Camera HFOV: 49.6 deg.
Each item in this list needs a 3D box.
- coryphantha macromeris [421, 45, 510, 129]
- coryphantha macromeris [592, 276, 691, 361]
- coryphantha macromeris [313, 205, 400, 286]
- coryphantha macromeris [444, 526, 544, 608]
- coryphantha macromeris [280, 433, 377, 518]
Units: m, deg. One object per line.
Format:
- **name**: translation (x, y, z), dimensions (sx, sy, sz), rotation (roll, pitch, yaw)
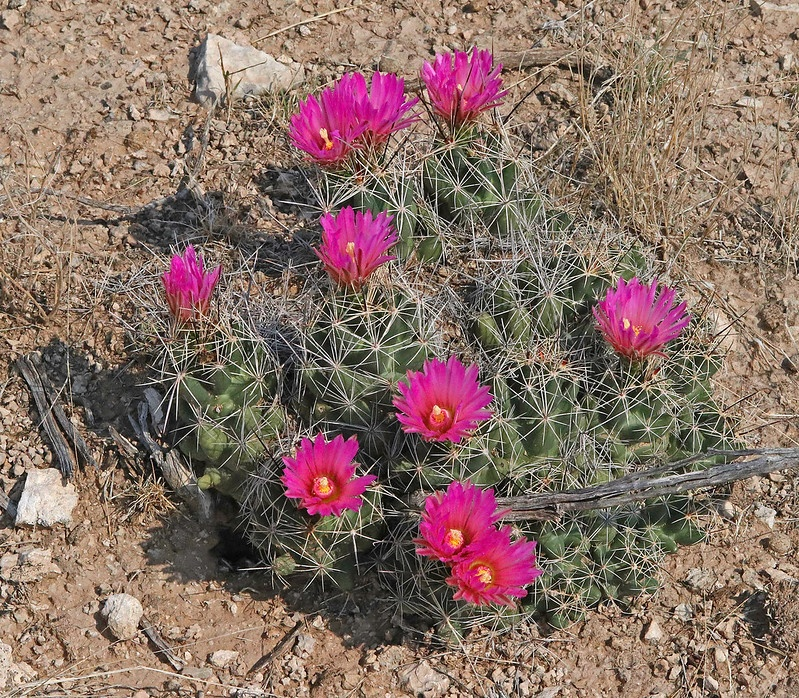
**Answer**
- **coryphantha macromeris**: translation (0.223, -0.922, 2.994), dimensions (0.254, 0.244, 0.279), rotation (0, 76, 2)
- **coryphantha macromeris**: translation (0.765, -0.114, 2.748), dimensions (0.225, 0.304, 0.271), rotation (-8, 29, -14)
- **coryphantha macromeris**: translation (-0.137, -0.313, 2.700), dimensions (0.234, 0.225, 0.234), rotation (-1, 74, -2)
- **coryphantha macromeris**: translation (0.268, 0.602, 2.379), dimensions (0.192, 0.100, 0.247), rotation (-2, 58, 2)
- **coryphantha macromeris**: translation (-0.207, 0.364, 2.472), dimensions (0.218, 0.102, 0.256), rotation (27, 79, 12)
